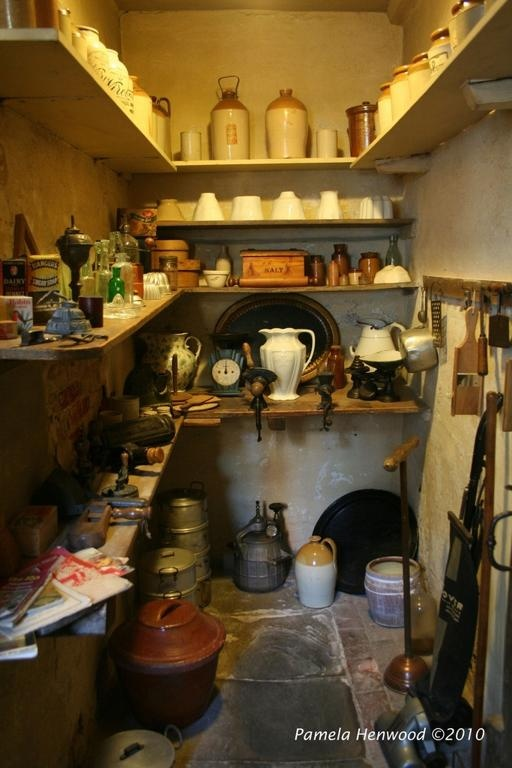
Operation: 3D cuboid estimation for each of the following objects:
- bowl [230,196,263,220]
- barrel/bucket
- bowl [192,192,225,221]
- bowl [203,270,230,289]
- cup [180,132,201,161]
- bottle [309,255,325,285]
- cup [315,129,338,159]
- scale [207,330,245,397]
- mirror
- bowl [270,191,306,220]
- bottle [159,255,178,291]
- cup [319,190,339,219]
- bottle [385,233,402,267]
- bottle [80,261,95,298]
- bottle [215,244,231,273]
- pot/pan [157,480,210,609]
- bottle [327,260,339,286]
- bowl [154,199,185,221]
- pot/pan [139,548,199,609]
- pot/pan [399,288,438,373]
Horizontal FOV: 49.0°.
[{"bbox_3d":[-0.048,-0.927,2.959,0.159,0.123,0.073,0,6,-1],"label":"bowl"},{"bbox_3d":[0.634,1.049,2.782,0.182,0.347,0.229,1,6,12],"label":"barrel/bucket"},{"bbox_3d":[-0.253,-0.932,2.956,0.152,0.142,0.078,-1,6,-4],"label":"bowl"},{"bbox_3d":[-0.205,-0.550,3.015,0.103,0.076,0.108,0,6,0],"label":"bowl"},{"bbox_3d":[-0.343,-1.238,2.931,0.101,0.149,0.083,-1,6,-2],"label":"cup"},{"bbox_3d":[0.335,-0.622,3.069,0.078,0.162,0.055,0,6,1],"label":"bottle"},{"bbox_3d":[0.374,-1.247,2.931,0.095,0.161,0.081,-1,6,-4],"label":"cup"},{"bbox_3d":[-0.156,-0.120,3.180,0.195,0.342,0.273,-1,6,-2],"label":"scale"},{"bbox_3d":[0.091,-0.338,3.219,0.696,0.049,0.851,-3,29,-2],"label":"mirror"},{"bbox_3d":[0.160,-0.918,2.935,0.151,0.126,0.159,-1,10,0],"label":"bowl"},{"bbox_3d":[-0.439,-0.545,2.768,0.088,0.168,0.109,-1,6,-2],"label":"bottle"},{"bbox_3d":[0.395,-0.950,2.982,0.112,0.149,0.088,0,6,6],"label":"cup"},{"bbox_3d":[0.761,-0.738,3.108,0.090,0.186,0.299,1,7,13],"label":"bottle"},{"bbox_3d":[-0.496,-0.308,1.650,0.033,0.102,0.205,-1,7,-9],"label":"bottle"},{"bbox_3d":[-0.172,-0.677,3.057,0.081,0.161,0.212,-1,6,-1],"label":"bottle"},{"bbox_3d":[-0.385,0.866,3.045,0.285,0.657,0.288,-5,2,-8],"label":"pot/pan"},{"bbox_3d":[0.422,-0.603,3.044,0.061,0.134,0.077,0,6,6],"label":"bottle"},{"bbox_3d":[-0.460,-0.924,2.997,0.123,0.130,0.129,1,4,0],"label":"bowl"},{"bbox_3d":[-0.384,0.863,2.457,0.239,0.248,0.249,0,4,0],"label":"pot/pan"},{"bbox_3d":[0.787,-0.254,2.698,0.160,0.518,0.200,-5,-37,5],"label":"pot/pan"}]
